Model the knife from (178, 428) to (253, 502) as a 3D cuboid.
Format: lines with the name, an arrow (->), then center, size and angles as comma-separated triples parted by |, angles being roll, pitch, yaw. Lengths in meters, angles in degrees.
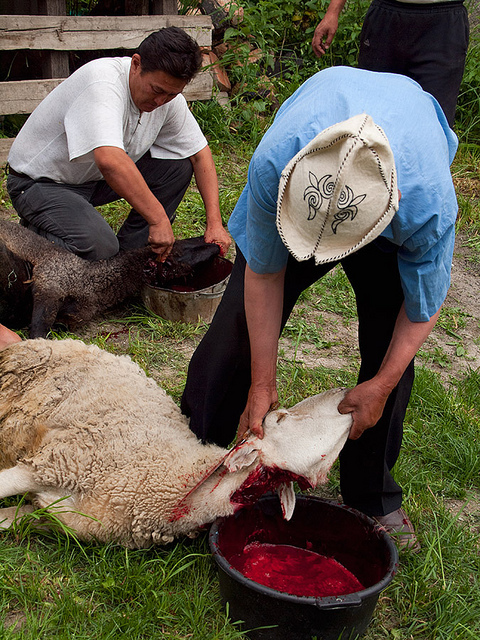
knife -> -0.103, 0.558, 2.610 | 0.034, 0.442, 0.058 | 53, 29, 4

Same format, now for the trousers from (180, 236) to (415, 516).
trousers -> 0.214, 0.262, 2.788 | 0.669, 0.374, 1.581 | 44, -13, 2
